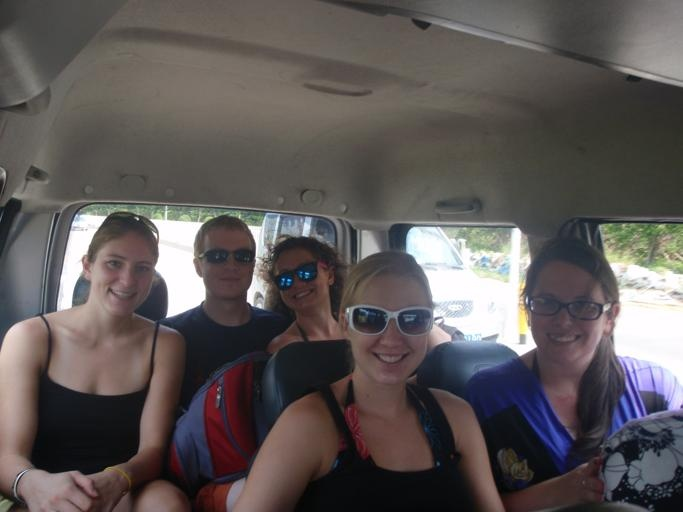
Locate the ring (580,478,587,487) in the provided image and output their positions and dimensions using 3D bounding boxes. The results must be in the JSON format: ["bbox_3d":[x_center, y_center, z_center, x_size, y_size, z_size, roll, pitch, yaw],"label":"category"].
[{"bbox_3d":[1.000,0.943,2.493,0.009,0.024,0.017,5,-7,-10],"label":"ring"}]

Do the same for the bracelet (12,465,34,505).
[{"bbox_3d":[-1.218,0.882,2.298,0.064,0.125,0.047,1,-4,-20],"label":"bracelet"}]

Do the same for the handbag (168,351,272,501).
[{"bbox_3d":[-0.520,0.790,2.886,0.458,0.839,0.699,9,-29,-10],"label":"handbag"}]

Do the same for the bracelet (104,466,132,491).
[{"bbox_3d":[-0.894,0.906,2.433,0.096,0.098,0.056,1,-4,-15],"label":"bracelet"}]

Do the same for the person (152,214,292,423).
[{"bbox_3d":[-0.600,0.294,2.928,0.886,0.960,0.281,4,-15,-34],"label":"person"}]
